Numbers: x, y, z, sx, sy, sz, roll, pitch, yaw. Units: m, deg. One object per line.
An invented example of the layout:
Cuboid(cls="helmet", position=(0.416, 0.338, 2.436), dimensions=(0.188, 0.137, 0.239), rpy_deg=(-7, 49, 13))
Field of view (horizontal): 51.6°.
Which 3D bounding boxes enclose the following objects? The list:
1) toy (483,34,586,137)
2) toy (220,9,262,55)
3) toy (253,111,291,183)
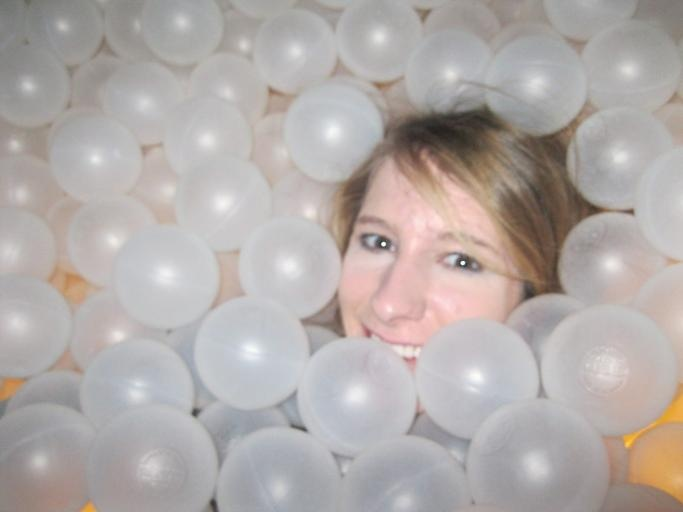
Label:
Cuboid(cls="toy", position=(0.472, -0.428, 1.775), dimensions=(0.218, 0.234, 0.123), rpy_deg=(-34, -1, 2))
Cuboid(cls="toy", position=(-0.274, -0.585, 1.882), dimensions=(0.102, 0.121, 0.031), rpy_deg=(17, 13, 12))
Cuboid(cls="toy", position=(-0.182, -0.277, 1.817), dimensions=(0.129, 0.163, 0.036), rpy_deg=(-14, -4, 23))
